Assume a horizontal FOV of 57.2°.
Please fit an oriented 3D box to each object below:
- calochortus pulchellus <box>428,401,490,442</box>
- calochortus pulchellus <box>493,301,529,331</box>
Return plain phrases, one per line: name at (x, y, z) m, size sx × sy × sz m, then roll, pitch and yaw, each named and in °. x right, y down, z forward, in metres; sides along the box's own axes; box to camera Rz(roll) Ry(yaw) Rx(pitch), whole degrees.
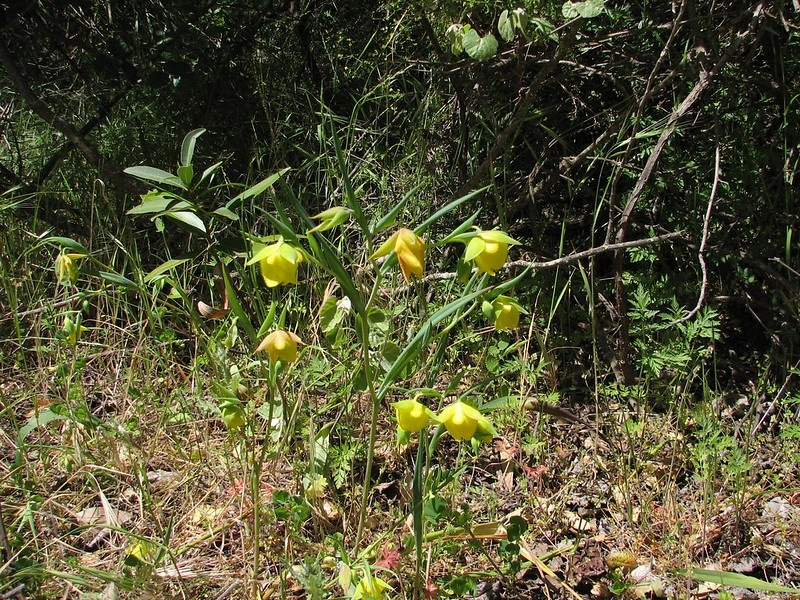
calochortus pulchellus at (0.195, 0.360, 2.222) m, size 0.115 × 0.137 × 0.083 m, roll 8°, pitch 52°, yaw 0°
calochortus pulchellus at (0.355, 0.069, 2.428) m, size 0.076 × 0.083 × 0.100 m, roll -5°, pitch 17°, yaw 0°
